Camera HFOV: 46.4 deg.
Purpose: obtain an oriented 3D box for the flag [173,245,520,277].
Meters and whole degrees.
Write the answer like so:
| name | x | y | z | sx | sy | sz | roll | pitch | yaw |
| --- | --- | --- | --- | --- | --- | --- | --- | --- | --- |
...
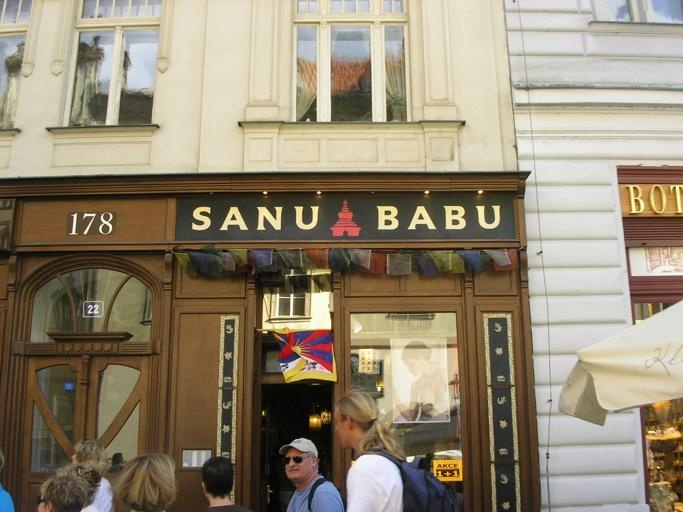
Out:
| name | x | y | z | sx | sy | sz | roll | pitch | yaw |
| --- | --- | --- | --- | --- | --- | --- | --- | --- | --- |
| flag | -0.001 | 0.096 | 12.119 | 4.892 | 0.427 | 0.423 | 0 | -14 | -2 |

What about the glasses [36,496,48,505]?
| name | x | y | z | sx | sy | sz | roll | pitch | yaw |
| --- | --- | --- | --- | --- | --- | --- | --- | --- | --- |
| glasses | -3.152 | 2.629 | 8.427 | 0.113 | 0.120 | 0.037 | 5 | 24 | 17 |
